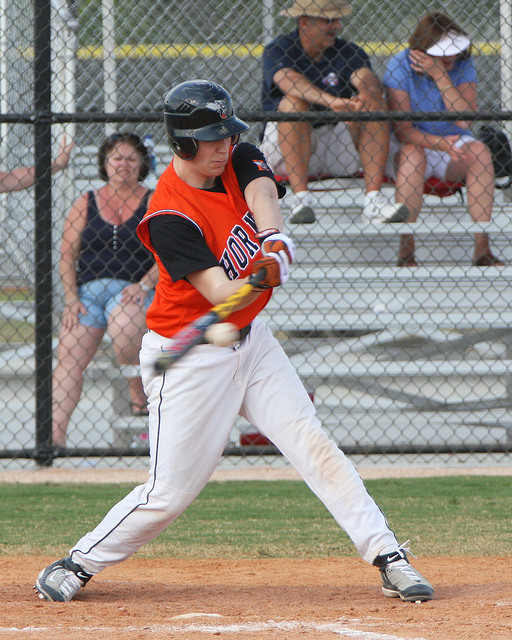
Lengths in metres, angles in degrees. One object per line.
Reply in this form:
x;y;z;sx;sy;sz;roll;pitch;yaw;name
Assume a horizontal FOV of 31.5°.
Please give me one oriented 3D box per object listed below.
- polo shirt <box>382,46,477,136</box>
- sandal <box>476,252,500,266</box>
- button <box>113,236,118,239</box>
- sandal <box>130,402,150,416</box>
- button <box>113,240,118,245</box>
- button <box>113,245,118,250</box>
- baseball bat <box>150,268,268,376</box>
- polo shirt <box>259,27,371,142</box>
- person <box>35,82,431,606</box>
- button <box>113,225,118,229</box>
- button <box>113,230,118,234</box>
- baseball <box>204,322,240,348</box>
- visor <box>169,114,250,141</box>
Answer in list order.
0.915;-1.208;4.816;0.490;0.478;0.271;0;2;10;polo shirt
1.259;-0.326;4.914;0.123;0.071;0.064;0;1;2;sandal
-0.683;-0.400;4.422;0.019;0.012;0.001;0;2;9;button
-0.594;0.456;4.611;0.088;0.082;0.211;0;1;-8;sandal
-0.686;-0.377;4.426;0.029;0.022;0.006;-1;-1;0;button
-0.686;-0.354;4.431;0.024;0.021;0.005;0;2;10;button
-0.139;0.007;2.687;0.617;0.065;0.083;-29;-25;-32;baseball bat
0.318;-1.338;4.822;0.565;0.426;0.306;0;1;-1;polo shirt
-0.071;0.086;2.776;1.104;1.626;0.622;-1;2;-18;person
-0.685;-0.451;4.424;0.026;0.019;0.007;-1;-5;-8;button
-0.685;-0.428;4.424;0.027;0.020;0.006;0;-4;-7;button
-0.093;0.033;2.496;0.087;0.050;0.072;0;-32;-3;baseball
-0.142;-0.569;2.704;0.233;0.087;0.093;0;1;-3;visor
